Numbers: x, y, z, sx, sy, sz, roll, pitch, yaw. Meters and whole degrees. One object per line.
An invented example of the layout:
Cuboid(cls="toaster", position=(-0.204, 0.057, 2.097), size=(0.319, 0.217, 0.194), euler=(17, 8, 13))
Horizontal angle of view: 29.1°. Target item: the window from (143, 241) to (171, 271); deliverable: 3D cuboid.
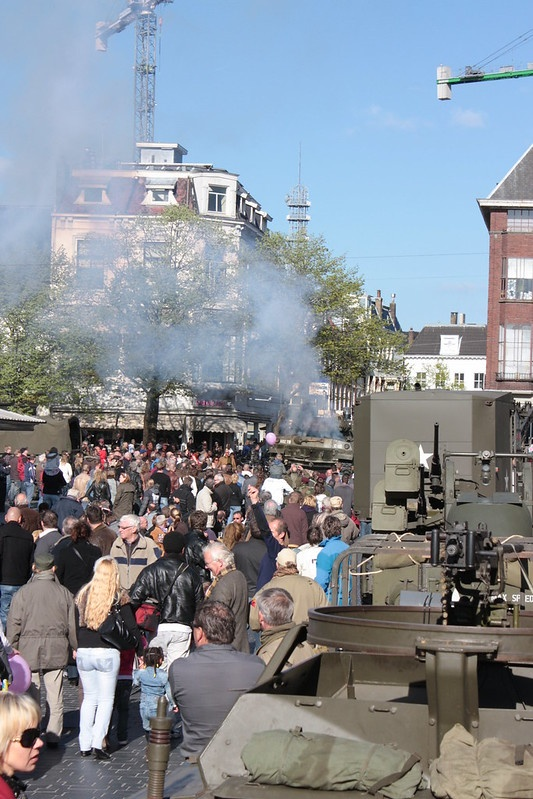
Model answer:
Cuboid(cls="window", position=(-4.563, -6.063, 42.735), size=(1.171, 1.208, 0.768), euler=(0, -3, 10))

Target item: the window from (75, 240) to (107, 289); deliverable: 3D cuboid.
Cuboid(cls="window", position=(-7.424, -5.861, 43.938), size=(1.237, 2.134, 0.187), euler=(1, -13, -13))

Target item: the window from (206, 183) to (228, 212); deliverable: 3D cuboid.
Cuboid(cls="window", position=(-2.592, -10.753, 54.489), size=(1.555, 1.889, 0.100), euler=(-2, 9, -19))
